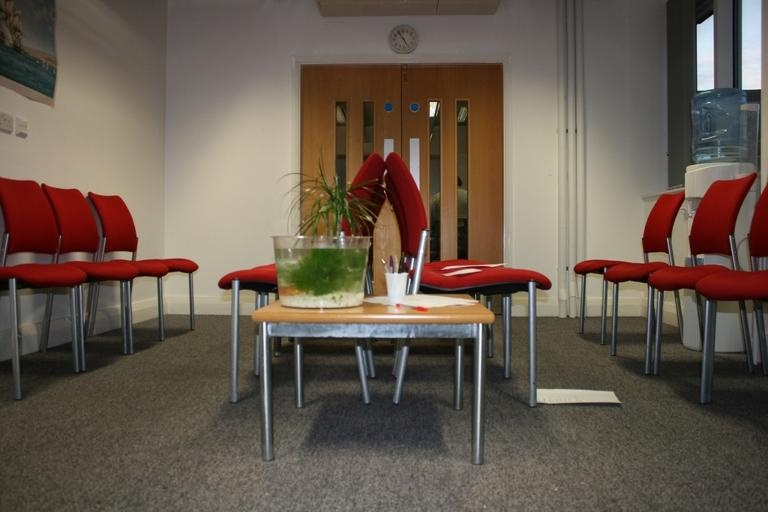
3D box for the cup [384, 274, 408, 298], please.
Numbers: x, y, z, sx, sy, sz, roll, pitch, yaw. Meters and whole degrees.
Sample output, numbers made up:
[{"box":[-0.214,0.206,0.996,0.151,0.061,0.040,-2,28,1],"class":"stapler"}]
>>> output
[{"box":[0.060,0.142,2.783,0.106,0.126,0.109,0,-1,0],"class":"cup"}]
